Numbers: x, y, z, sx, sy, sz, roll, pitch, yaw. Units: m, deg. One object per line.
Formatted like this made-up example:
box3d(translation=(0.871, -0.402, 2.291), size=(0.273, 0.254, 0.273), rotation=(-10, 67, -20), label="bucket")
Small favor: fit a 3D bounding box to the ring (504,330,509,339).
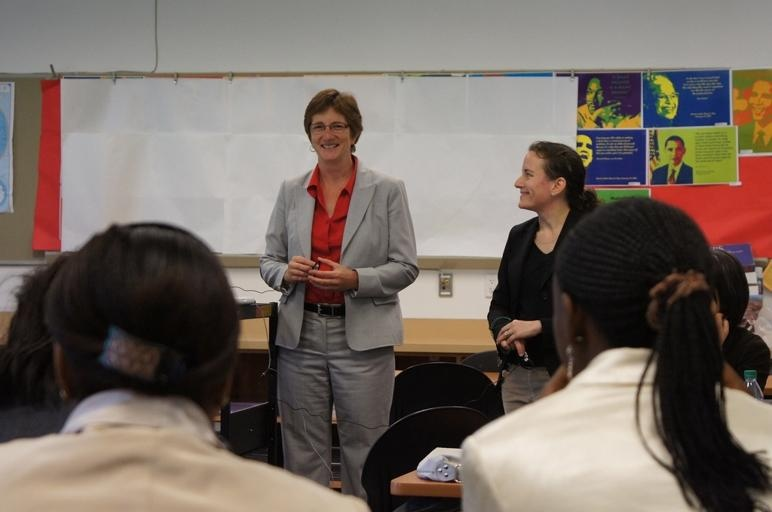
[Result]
box3d(translation=(0.447, 0.295, 2.441), size=(0.018, 0.018, 0.017), rotation=(-4, 22, 2), label="ring")
